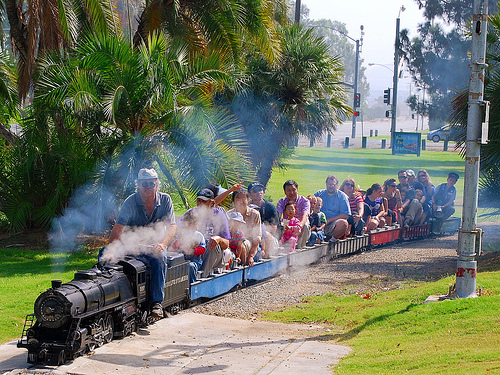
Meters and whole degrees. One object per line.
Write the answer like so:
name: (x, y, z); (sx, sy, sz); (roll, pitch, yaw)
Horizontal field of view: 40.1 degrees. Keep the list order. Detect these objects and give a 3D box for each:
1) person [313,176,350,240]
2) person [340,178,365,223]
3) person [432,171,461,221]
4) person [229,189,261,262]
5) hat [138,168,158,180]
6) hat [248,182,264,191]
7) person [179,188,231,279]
person: (1.848, 0.569, 16.350); (1.045, 1.693, 0.854); (2, 11, 26)
person: (2.471, 0.329, 16.983); (0.686, 1.097, 0.969); (-2, 16, -2)
person: (5.637, 0.246, 19.854); (0.685, 1.441, 1.004); (3, 8, 16)
person: (-0.139, 0.829, 13.168); (0.663, 1.586, 0.822); (-2, -4, 7)
hat: (-1.656, -0.218, 11.098); (0.286, 0.163, 0.423); (0, -7, -10)
hat: (0.103, -0.020, 14.125); (0.282, 0.153, 0.325); (2, 8, 10)
person: (-0.851, 0.918, 12.168); (0.935, 1.707, 0.917); (4, 4, -11)
